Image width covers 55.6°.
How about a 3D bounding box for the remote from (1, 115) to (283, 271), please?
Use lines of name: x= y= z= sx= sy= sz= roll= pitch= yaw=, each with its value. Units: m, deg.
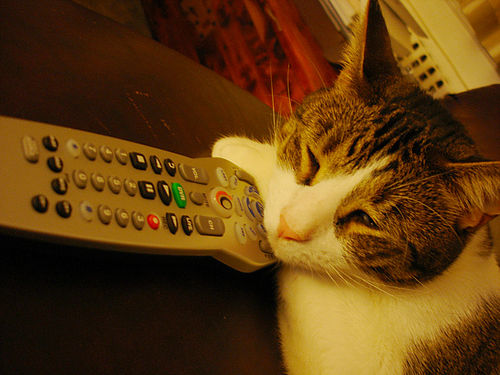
remote: x=-0.115 y=0.013 z=0.619 sx=0.358 sy=0.037 sz=0.165 roll=11 pitch=59 yaw=-42
